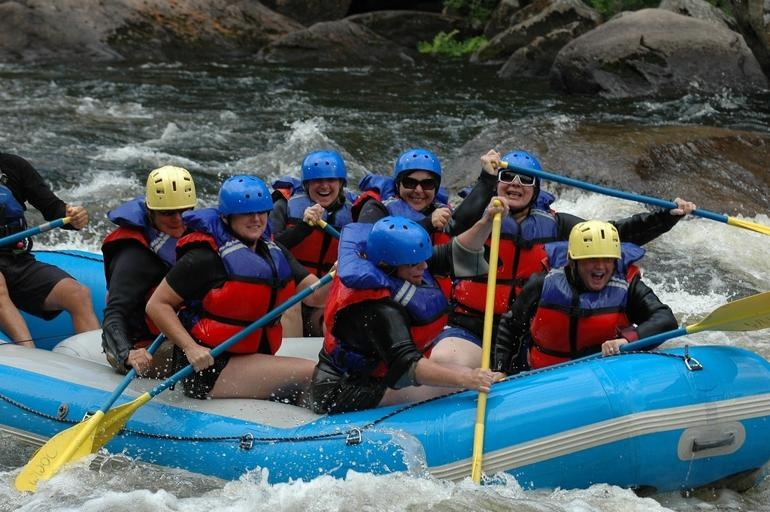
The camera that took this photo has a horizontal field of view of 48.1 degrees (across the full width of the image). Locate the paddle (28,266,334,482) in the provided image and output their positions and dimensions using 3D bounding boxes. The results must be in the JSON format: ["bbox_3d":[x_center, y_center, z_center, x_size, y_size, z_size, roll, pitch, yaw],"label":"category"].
[{"bbox_3d":[-1.660,1.050,7.672,3.239,0.957,0.263,-31,-7,-2],"label":"paddle"}]

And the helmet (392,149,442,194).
[{"bbox_3d":[0.325,-0.892,8.577,0.346,0.422,0.362,7,48,-8],"label":"helmet"}]

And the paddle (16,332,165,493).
[{"bbox_3d":[-2.308,1.227,6.873,0.437,2.454,0.252,-13,62,-51],"label":"paddle"}]

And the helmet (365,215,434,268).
[{"bbox_3d":[0.158,-0.109,7.214,0.619,0.368,0.448,15,26,29],"label":"helmet"}]

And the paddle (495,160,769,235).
[{"bbox_3d":[2.916,-0.668,10.115,3.449,0.268,0.175,17,10,10],"label":"paddle"}]

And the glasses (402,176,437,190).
[{"bbox_3d":[0.331,-0.710,8.429,0.193,0.058,0.183,4,-21,-3],"label":"glasses"}]

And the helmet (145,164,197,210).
[{"bbox_3d":[-1.931,-0.551,7.848,0.467,0.526,0.551,-5,14,-18],"label":"helmet"}]

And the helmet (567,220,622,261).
[{"bbox_3d":[1.830,-0.132,7.511,0.475,0.339,0.623,-1,11,2],"label":"helmet"}]

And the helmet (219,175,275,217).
[{"bbox_3d":[-1.234,-0.473,7.548,0.369,0.416,0.479,-8,16,-29],"label":"helmet"}]

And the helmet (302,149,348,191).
[{"bbox_3d":[-0.625,-0.853,8.902,0.470,0.470,0.522,-4,4,-10],"label":"helmet"}]
